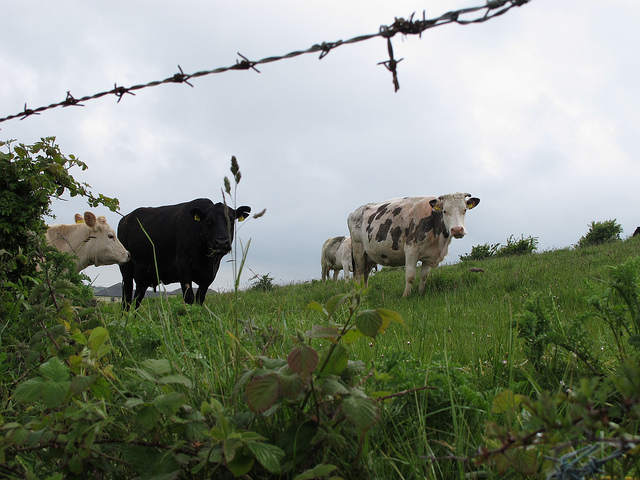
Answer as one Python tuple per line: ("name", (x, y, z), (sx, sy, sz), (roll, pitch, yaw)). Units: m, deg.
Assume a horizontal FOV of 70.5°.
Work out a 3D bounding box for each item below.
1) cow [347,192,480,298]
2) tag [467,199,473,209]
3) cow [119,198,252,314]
("cow", (2.045, 0.168, 10.647), (1.095, 2.251, 3.550), (-4, 2, -36))
("tag", (3.165, -0.754, 9.592), (0.057, 0.183, 0.126), (-2, -5, 40))
("cow", (-2.798, 0.457, 8.774), (3.683, 2.170, 1.122), (-2, -6, 39))
